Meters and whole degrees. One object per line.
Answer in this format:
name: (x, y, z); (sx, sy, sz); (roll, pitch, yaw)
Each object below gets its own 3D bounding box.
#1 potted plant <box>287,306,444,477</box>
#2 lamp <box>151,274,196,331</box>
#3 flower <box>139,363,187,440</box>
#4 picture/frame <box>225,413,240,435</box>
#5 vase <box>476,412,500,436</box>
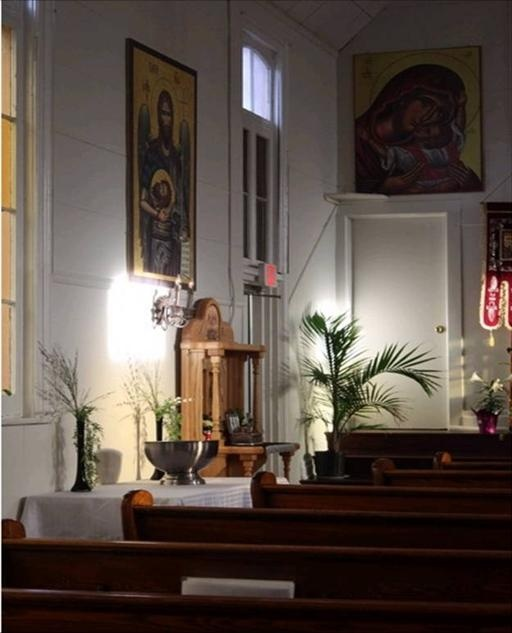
potted plant: (1.329, 0.727, 9.099); (1.672, 1.901, 1.603); (12, -16, -42)
lamp: (-0.677, -0.097, 6.300); (0.221, 0.483, 0.372); (-2, -7, 33)
flower: (-0.731, 0.678, 6.002); (0.271, 0.484, 0.228); (3, 3, 43)
picture/frame: (-0.207, 0.888, 6.505); (0.027, 0.177, 0.165); (-9, -5, 29)
vase: (2.622, 1.205, 8.951); (0.206, 0.255, 0.230); (2, -15, 3)
